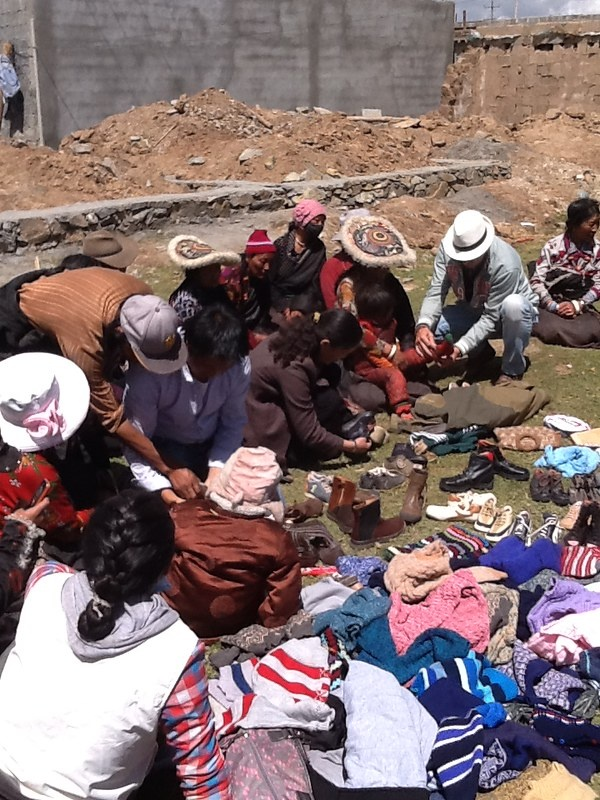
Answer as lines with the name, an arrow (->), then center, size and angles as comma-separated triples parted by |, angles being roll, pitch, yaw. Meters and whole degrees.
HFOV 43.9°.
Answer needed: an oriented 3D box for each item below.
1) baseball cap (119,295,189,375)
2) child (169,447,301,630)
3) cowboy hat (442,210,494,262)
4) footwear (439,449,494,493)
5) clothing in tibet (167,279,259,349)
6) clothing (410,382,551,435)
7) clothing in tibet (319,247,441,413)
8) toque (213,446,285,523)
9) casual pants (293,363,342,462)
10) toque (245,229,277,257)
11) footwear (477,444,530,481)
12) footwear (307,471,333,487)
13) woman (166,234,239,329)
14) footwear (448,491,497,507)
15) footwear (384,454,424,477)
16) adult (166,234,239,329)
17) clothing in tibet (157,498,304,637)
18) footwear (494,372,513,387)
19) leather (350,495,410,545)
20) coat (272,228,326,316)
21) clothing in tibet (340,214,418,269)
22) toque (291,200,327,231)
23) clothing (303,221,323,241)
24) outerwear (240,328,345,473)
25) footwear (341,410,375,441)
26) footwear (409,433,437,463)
baseball cap -> -0.642, -0.282, 3.229 | 0.286, 0.320, 0.249 | -2, 20, -10
child -> -0.265, 0.559, 2.892 | 0.491, 0.562, 0.506 | 15, 42, 2
cowboy hat -> 1.237, -1.194, 5.497 | 0.388, 0.375, 0.366 | 7, 20, 15
footwear -> 0.988, 0.417, 4.249 | 0.355, 0.222, 0.161 | -7, 22, -22
clothing in tibet -> -0.596, -0.605, 4.506 | 0.264, 0.328, 0.369 | -17, 26, -11
clothing -> 1.224, 0.041, 4.994 | 0.630, 0.160, 0.411 | -7, 9, -13
clothing in tibet -> 0.570, -0.605, 5.434 | 0.929, 1.382, 0.737 | 12, 29, 21
toque -> -0.184, 0.328, 2.988 | 0.279, 0.218, 0.300 | 24, -2, 3
casual pants -> 0.183, 0.073, 4.758 | 0.253, 0.292, 0.705 | 2, 36, 17
toque -> -0.269, -1.192, 5.674 | 0.297, 0.199, 0.212 | -2, 9, -27
footwear -> 1.200, 0.376, 4.398 | 0.258, 0.108, 0.074 | 25, 47, 10
footwear -> 0.110, 0.458, 4.301 | 0.128, 0.036, 0.076 | 5, 4, 30
woman -> -0.617, -0.718, 4.535 | 0.446, 0.553, 0.317 | -17, 44, -15
footwear -> 0.925, 0.529, 3.996 | 0.181, 0.059, 0.096 | -5, 12, 9
footwear -> 0.618, 0.390, 4.444 | 0.199, 0.069, 0.112 | 0, 15, 21
adult -> -0.605, -0.718, 4.537 | 0.468, 0.577, 0.340 | -10, 42, -9
clothing in tibet -> -0.262, 0.621, 2.715 | 0.598, 0.395, 0.315 | 22, 46, 6
footwear -> 1.523, -0.147, 5.532 | 0.107, 0.049, 0.139 | -6, 6, 3
leather -> 0.375, 0.580, 3.823 | 0.368, 0.235, 0.154 | -14, 27, -26
coat -> -0.032, -1.042, 6.195 | 0.548, 0.677, 0.480 | 10, 0, -1
clothing in tibet -> 0.542, -1.132, 5.398 | 0.462, 0.100, 0.492 | -28, 63, -37
toque -> 0.064, -1.513, 6.140 | 0.240, 0.221, 0.265 | -18, 19, -2
clothing -> 0.099, -1.390, 6.157 | 0.144, 0.080, 0.152 | -10, -2, -35
outerwear -> 0.072, -0.079, 4.547 | 0.756, 0.724, 0.642 | -17, 46, -16
footwear -> 0.375, 0.168, 4.865 | 0.214, 0.144, 0.083 | -40, 42, -20
footwear -> 0.763, 0.299, 4.618 | 0.095, 0.098, 0.255 | -2, 6, -13
